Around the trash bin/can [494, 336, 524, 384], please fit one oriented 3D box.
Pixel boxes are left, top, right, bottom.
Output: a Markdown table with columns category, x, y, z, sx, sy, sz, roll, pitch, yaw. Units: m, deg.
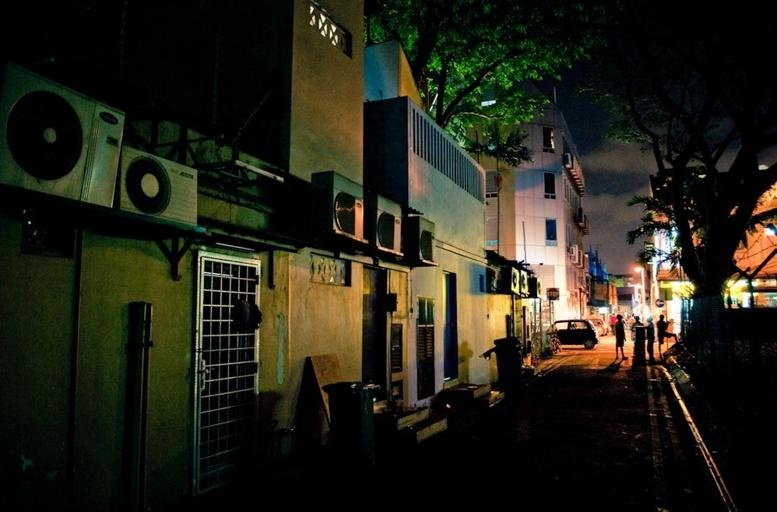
| category | x | y | z | sx | sy | sz | roll | pitch | yaw |
| --- | --- | --- | --- | --- | --- | --- | --- | --- | --- |
| trash bin/can | 3.745 | 3.351 | 20.841 | 0.808 | 1.602 | 0.770 | 0 | 0 | 8 |

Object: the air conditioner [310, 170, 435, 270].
| category | x | y | z | sx | sy | sz | roll | pitch | yaw |
| --- | --- | --- | --- | --- | --- | --- | --- | --- | --- |
| air conditioner | -0.337 | -0.794 | 15.316 | 0.606 | 1.953 | 4.328 | 0 | 0 | 28 |

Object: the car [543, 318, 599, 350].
| category | x | y | z | sx | sy | sz | roll | pitch | yaw |
| --- | --- | --- | --- | --- | --- | --- | --- | --- | --- |
| car | 11.221 | 4.811 | 40.741 | 3.150 | 1.717 | 1.946 | 1 | -5 | 10 |

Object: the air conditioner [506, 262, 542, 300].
| category | x | y | z | sx | sy | sz | roll | pitch | yaw |
| --- | --- | --- | --- | --- | --- | --- | --- | --- | --- |
| air conditioner | 5.743 | 1.041 | 27.736 | 1.068 | 1.539 | 6.482 | 0 | 0 | 13 |
